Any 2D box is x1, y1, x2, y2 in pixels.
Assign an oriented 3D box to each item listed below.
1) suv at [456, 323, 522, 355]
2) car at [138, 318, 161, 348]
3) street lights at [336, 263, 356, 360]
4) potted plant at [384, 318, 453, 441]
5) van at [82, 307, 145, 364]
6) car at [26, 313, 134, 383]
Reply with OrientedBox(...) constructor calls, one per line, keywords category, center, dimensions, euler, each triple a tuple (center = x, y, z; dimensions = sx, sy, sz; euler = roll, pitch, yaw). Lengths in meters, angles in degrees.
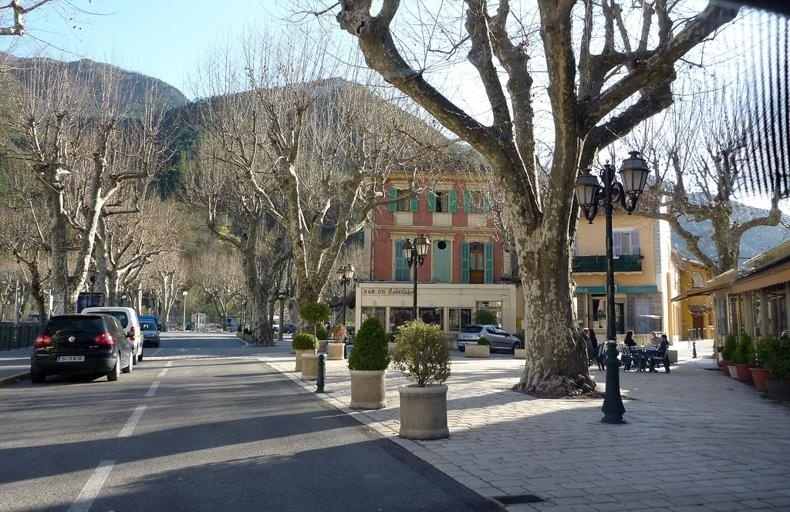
OrientedBox(category="suv", center=(5.421, 4.743, 40.831), dimensions=(2.826, 1.234, 1.683), euler=(0, -4, -26))
OrientedBox(category="car", center=(-15.704, 4.879, 45.136), dimensions=(1.527, 1.615, 2.834), euler=(0, -15, -14))
OrientedBox(category="street lights", center=(-2.523, 2.248, 35.793), dimensions=(0.923, 3.323, 0.499), euler=(-14, -23, 31))
OrientedBox(category="potted plant", center=(0.617, 2.758, 15.925), dimensions=(1.215, 2.642, 1.074), euler=(0, -6, 0))
OrientedBox(category="van", center=(-11.035, 3.192, 28.778), dimensions=(1.892, 1.831, 3.487), euler=(0, -4, -5))
OrientedBox(category="car", center=(-9.684, 2.852, 22.103), dimensions=(2.760, 2.092, 1.707), euler=(5, -9, -36))
